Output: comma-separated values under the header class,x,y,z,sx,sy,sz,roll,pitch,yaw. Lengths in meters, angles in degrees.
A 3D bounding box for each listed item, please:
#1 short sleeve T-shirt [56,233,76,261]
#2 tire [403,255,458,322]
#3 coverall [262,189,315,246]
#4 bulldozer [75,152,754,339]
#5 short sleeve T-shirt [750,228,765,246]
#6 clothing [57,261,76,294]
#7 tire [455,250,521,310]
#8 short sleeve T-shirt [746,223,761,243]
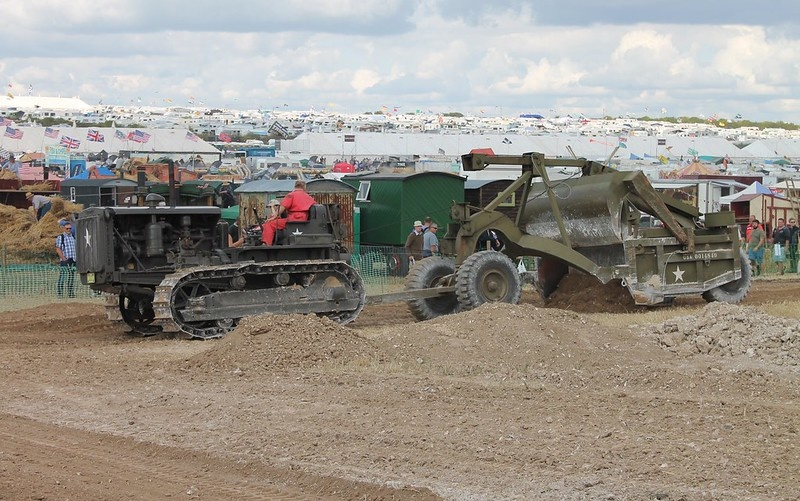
class,x,y,z,sx,sy,sz,roll,pitch,yaw
short sleeve T-shirt,-8.428,-0.039,25.838,0.403,0.536,0.584,-3,2,-23
tire,0.749,0.945,23.461,1.501,1.557,0.462,0,-2,-36
coverall,-2.585,-0.698,22.204,1.124,1.264,0.973,5,2,6
bulldozer,1.045,-0.290,23.873,13.880,4.017,3.708,0,-5,-12
short sleeve T-shirt,10.515,-0.347,30.552,0.360,0.645,0.475,6,-4,-42
clothing,-8.538,0.748,26.163,0.452,0.702,0.226,-2,2,7
tire,1.937,0.791,22.946,1.528,1.531,0.479,-16,9,-26
short sleeve T-shirt,10.502,-0.488,30.763,0.314,0.595,0.525,9,-3,-36
